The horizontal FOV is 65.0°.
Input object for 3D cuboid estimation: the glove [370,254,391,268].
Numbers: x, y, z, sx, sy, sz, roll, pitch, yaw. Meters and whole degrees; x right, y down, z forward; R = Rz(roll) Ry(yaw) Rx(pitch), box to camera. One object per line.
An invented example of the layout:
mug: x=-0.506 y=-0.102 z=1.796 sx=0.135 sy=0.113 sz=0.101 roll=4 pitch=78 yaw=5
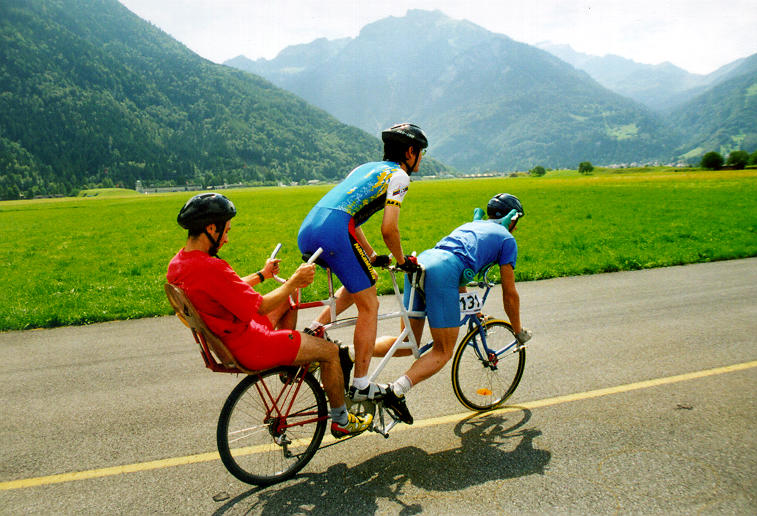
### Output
glove: x=0.034 y=0.028 z=8.627 sx=0.175 sy=0.104 sz=0.230 roll=1 pitch=7 yaw=15

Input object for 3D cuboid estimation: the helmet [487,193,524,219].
helmet: x=2.004 y=-0.879 z=9.676 sx=0.494 sy=0.458 sz=0.445 roll=-19 pitch=26 yaw=-26

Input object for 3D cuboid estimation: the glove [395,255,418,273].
glove: x=0.412 y=0.067 z=8.603 sx=0.144 sy=0.159 sz=0.404 roll=24 pitch=-8 yaw=19

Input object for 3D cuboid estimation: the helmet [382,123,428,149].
helmet: x=0.359 y=-1.797 z=8.767 sx=0.524 sy=0.218 sz=0.388 roll=-1 pitch=8 yaw=-7

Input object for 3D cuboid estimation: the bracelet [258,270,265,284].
bracelet: x=-1.691 y=0.235 z=8.496 sx=0.034 sy=0.126 sz=0.119 roll=-17 pitch=49 yaw=-26
